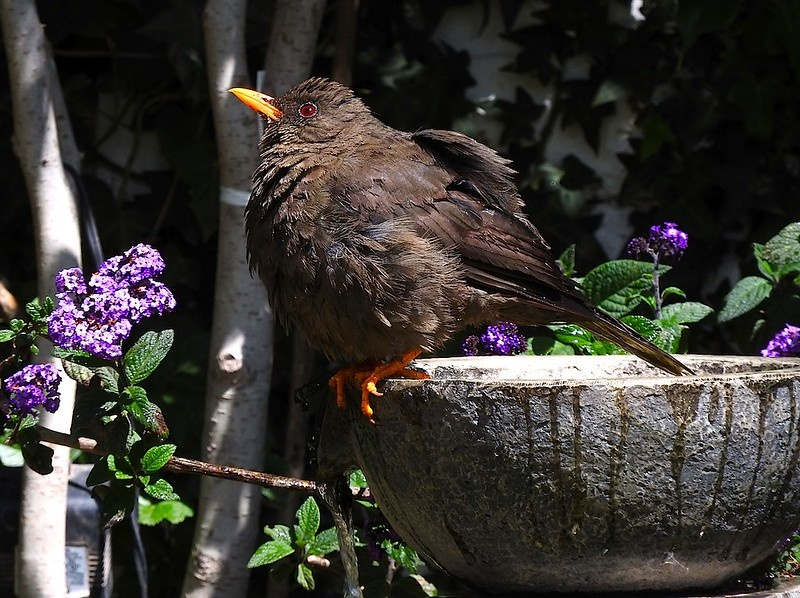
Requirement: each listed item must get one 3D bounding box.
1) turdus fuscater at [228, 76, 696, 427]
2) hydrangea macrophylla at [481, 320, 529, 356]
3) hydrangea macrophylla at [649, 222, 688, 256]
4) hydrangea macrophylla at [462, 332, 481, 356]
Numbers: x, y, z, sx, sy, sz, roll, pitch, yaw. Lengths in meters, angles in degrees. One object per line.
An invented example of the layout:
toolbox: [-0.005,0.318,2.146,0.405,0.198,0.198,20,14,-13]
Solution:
turdus fuscater: [0.225,-0.220,4.449,1.702,1.056,0.923,2,6,-14]
hydrangea macrophylla: [0.418,0.162,4.645,0.157,0.127,0.089,15,-30,-13]
hydrangea macrophylla: [1.033,-0.229,4.612,0.138,0.115,0.138,25,1,21]
hydrangea macrophylla: [0.286,0.170,4.691,0.081,0.072,0.045,9,33,44]
